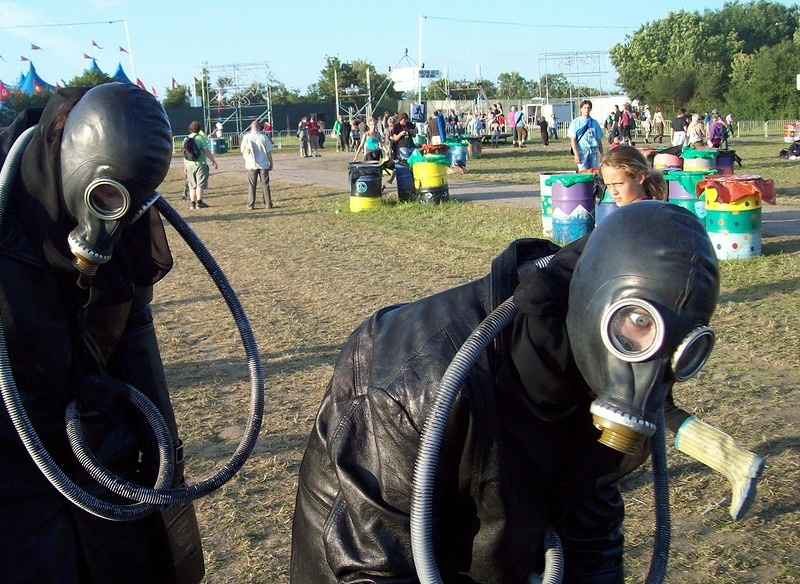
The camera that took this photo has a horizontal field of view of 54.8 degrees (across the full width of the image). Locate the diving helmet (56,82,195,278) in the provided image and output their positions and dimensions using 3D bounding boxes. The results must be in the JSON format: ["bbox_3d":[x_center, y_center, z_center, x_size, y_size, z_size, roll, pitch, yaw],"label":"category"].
[{"bbox_3d":[-0.973,-0.381,2.584,0.318,0.718,0.330,8,10,-27],"label":"diving helmet"}]

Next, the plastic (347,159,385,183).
[{"bbox_3d":[-0.665,-2.417,15.279,0.434,0.345,0.493,0,5,-9],"label":"plastic"}]

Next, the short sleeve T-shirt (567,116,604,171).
[{"bbox_3d":[3.261,-2.566,13.348,0.499,0.909,0.630,1,13,15],"label":"short sleeve T-shirt"}]

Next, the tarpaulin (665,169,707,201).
[{"bbox_3d":[3.808,-1.438,10.297,0.513,0.654,0.589,2,10,18],"label":"tarpaulin"}]

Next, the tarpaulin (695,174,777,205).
[{"bbox_3d":[4.126,-1.251,9.297,0.517,0.224,0.590,1,11,7],"label":"tarpaulin"}]

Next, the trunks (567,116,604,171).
[{"bbox_3d":[3.280,-2.570,13.357,0.497,0.909,0.585,0,12,8],"label":"trunks"}]

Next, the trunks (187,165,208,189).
[{"bbox_3d":[-4.338,-2.478,16.483,0.290,0.463,0.263,13,32,1],"label":"trunks"}]

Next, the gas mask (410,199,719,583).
[{"bbox_3d":[0.550,0.116,2.393,0.712,1.257,0.434,22,-13,-13],"label":"gas mask"}]

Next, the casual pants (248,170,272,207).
[{"bbox_3d":[-3.044,-2.262,16.659,0.488,0.350,1.416,2,51,-17],"label":"casual pants"}]

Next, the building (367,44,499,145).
[{"bbox_3d":[3.321,-12.352,54.300,9.133,5.788,11.034,-7,30,-2],"label":"building"}]

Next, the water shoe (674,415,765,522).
[{"bbox_3d":[0.881,0.500,2.123,0.164,0.264,0.248,-13,17,-42],"label":"water shoe"}]

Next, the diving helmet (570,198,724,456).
[{"bbox_3d":[0.696,0.081,2.168,0.416,0.629,0.311,-8,13,-23],"label":"diving helmet"}]

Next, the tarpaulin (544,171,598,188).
[{"bbox_3d":[2.334,-1.508,10.465,0.629,0.186,0.617,0,15,9],"label":"tarpaulin"}]
